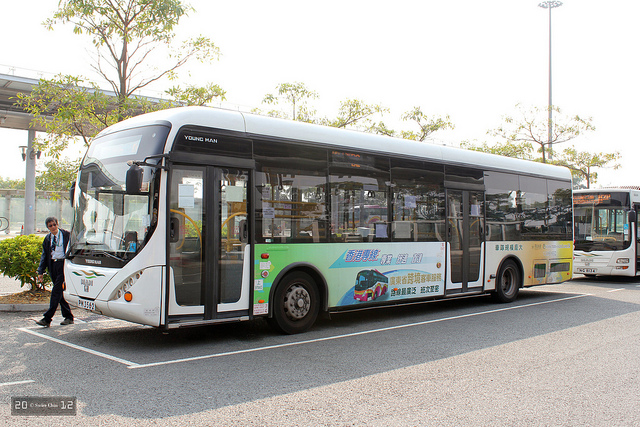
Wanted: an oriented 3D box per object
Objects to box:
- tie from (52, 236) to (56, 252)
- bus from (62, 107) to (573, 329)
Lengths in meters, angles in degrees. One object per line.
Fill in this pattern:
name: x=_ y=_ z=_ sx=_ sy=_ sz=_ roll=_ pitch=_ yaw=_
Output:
tie: x=-5.835 y=0.630 z=10.208 sx=0.071 sy=0.302 sz=0.042 roll=1 pitch=1 yaw=22
bus: x=1.442 y=0.312 z=13.127 sx=14.657 sy=4.183 sz=3.988 roll=2 pitch=-4 yaw=-36
